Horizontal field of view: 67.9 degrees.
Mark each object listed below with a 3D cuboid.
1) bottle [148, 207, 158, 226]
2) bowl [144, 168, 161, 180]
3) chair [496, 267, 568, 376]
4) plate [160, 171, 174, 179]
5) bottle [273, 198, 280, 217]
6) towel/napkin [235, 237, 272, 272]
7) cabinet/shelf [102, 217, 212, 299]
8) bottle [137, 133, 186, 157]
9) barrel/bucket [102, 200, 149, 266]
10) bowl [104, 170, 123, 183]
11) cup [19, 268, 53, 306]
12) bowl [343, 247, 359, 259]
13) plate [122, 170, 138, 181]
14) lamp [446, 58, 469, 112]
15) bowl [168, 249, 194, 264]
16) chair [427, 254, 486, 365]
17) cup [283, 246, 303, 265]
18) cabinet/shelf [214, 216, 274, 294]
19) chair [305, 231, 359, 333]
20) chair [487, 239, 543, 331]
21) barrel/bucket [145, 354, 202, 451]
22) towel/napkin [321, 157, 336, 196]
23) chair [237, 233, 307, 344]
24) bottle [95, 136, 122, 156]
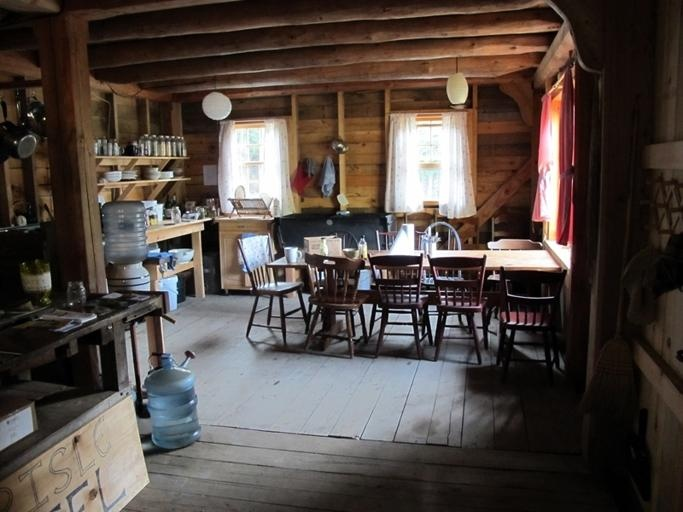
[{"bbox_3d":[-2.461,-0.525,6.600,0.091,0.219,0.233,-1,13,2],"label":"bottle"},{"bbox_3d":[-2.648,-1.148,7.094,0.168,0.121,0.170,-1,8,0],"label":"bowl"},{"bbox_3d":[1.642,0.537,4.471,0.598,0.921,0.666,6,10,36],"label":"chair"},{"bbox_3d":[-2.527,-1.173,7.361,0.121,0.116,0.250,4,14,25],"label":"plate"},{"bbox_3d":[-0.983,-0.744,7.606,0.134,0.253,0.118,-2,13,-3],"label":"bottle"},{"bbox_3d":[-1.031,-0.030,5.667,0.126,0.431,0.339,-2,-2,39],"label":"towel/napkin"},{"bbox_3d":[-2.403,-0.072,6.573,0.909,1.287,1.364,1,7,11],"label":"cabinet/shelf"},{"bbox_3d":[-2.503,-1.542,7.133,0.138,0.294,0.756,4,14,24],"label":"bottle"},{"bbox_3d":[-1.987,-0.220,4.649,0.368,0.591,0.378,-1,6,0],"label":"barrel/bucket"},{"bbox_3d":[-2.853,-0.989,6.311,0.158,0.093,0.149,-2,4,0],"label":"bowl"},{"bbox_3d":[-2.022,0.197,3.396,0.269,0.233,0.271,-2,0,0],"label":"cup"},{"bbox_3d":[0.106,-0.029,5.259,0.108,0.057,0.107,-1,8,0],"label":"bowl"},{"bbox_3d":[-2.819,-1.070,6.724,0.183,0.142,0.147,-9,15,-30],"label":"plate"},{"bbox_3d":[1.180,-1.807,5.214,0.194,0.547,0.196,-2,-6,13],"label":"lamp"},{"bbox_3d":[-2.167,-0.020,6.850,0.225,0.119,0.229,-1,8,0],"label":"bowl"},{"bbox_3d":[1.248,0.350,5.311,0.554,1.073,1.702,1,13,14],"label":"chair"},{"bbox_3d":[-0.524,-0.009,5.456,0.202,0.150,0.136,0,2,-5],"label":"cup"},{"bbox_3d":[-1.393,-0.093,7.418,0.833,1.016,0.817,-3,-1,-39],"label":"cabinet/shelf"},{"bbox_3d":[-0.043,0.384,5.077,0.539,0.994,0.682,4,11,14],"label":"chair"},{"bbox_3d":[1.859,0.194,5.481,0.586,0.897,0.584,2,-11,14],"label":"chair"},{"bbox_3d":[-1.225,1.021,3.710,0.383,0.665,0.360,-4,9,1],"label":"barrel/bucket"},{"bbox_3d":[-0.193,-1.168,7.537,0.172,0.609,0.232,7,15,33],"label":"towel/napkin"},{"bbox_3d":[-0.753,0.340,5.600,0.657,1.094,0.590,4,10,31],"label":"chair"},{"bbox_3d":[-2.896,-1.354,6.303,0.286,0.233,0.627,-7,14,-23],"label":"bottle"}]
